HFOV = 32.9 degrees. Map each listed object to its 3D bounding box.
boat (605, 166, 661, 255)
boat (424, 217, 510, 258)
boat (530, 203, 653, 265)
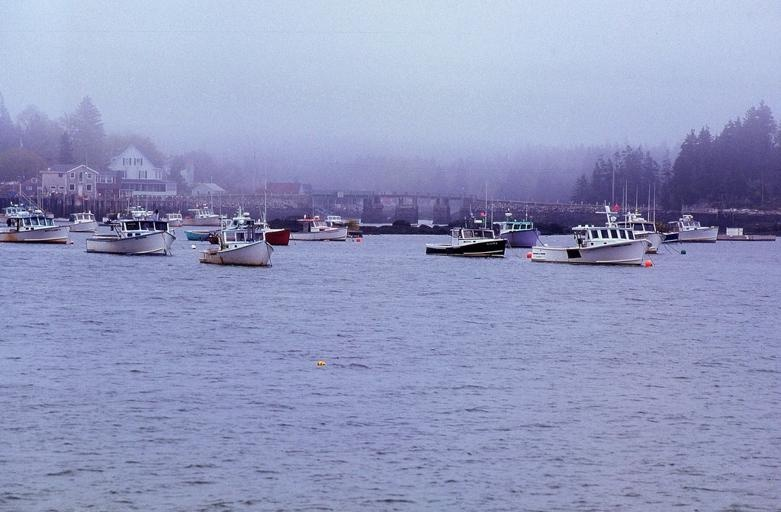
[{"bbox_3d":[14.155,-1.190,94.047,4.126,3.744,9.877,2,-1,-40],"label":"boat"},{"bbox_3d":[6.974,-1.929,108.566,11.383,4.064,4.488,-1,-1,13],"label":"boat"},{"bbox_3d":[14.914,-1.660,98.971,7.501,4.476,19.039,-1,4,-15],"label":"boat"}]
